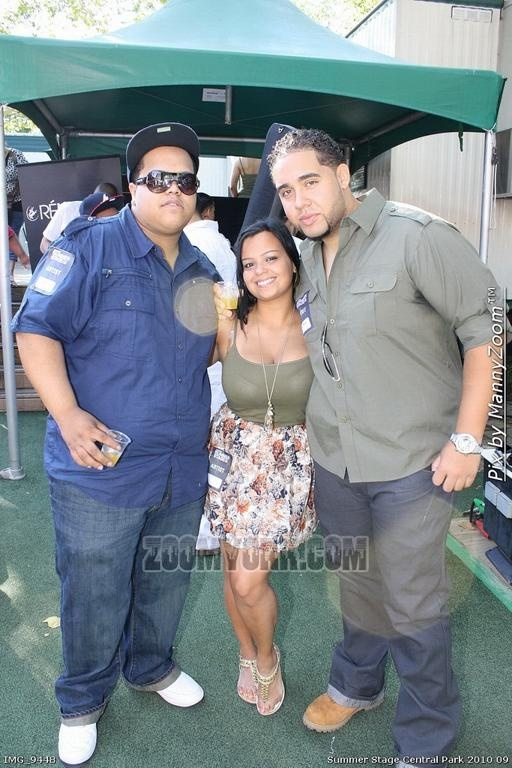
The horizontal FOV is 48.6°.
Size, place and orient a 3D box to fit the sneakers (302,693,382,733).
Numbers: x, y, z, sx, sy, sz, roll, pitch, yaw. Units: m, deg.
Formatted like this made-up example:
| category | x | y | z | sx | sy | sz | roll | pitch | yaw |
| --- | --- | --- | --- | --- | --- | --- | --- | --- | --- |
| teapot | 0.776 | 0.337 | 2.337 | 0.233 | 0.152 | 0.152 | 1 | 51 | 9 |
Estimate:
| category | x | y | z | sx | sy | sz | roll | pitch | yaw |
| --- | --- | --- | --- | --- | --- | --- | --- | --- | --- |
| sneakers | 0.299 | 1.123 | 1.986 | 0.251 | 0.111 | 0.096 | -10 | 47 | -8 |

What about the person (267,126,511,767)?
| category | x | y | z | sx | sy | sz | roll | pitch | yaw |
| --- | --- | --- | --- | --- | --- | --- | --- | --- | --- |
| person | 0.350 | 0.264 | 1.683 | 0.461 | 1.900 | 0.788 | -17 | 26 | -33 |

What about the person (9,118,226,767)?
| category | x | y | z | sx | sy | sz | roll | pitch | yaw |
| --- | --- | --- | --- | --- | --- | --- | --- | --- | --- |
| person | -0.403 | 0.244 | 1.748 | 0.361 | 1.922 | 0.814 | 10 | 25 | 27 |

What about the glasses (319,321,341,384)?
| category | x | y | z | sx | sy | sz | roll | pitch | yaw |
| --- | --- | --- | --- | --- | --- | --- | --- | --- | --- |
| glasses | 0.218 | -0.084 | 1.615 | 0.037 | 0.183 | 0.022 | -4 | -11 | 17 |

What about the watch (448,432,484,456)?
| category | x | y | z | sx | sy | sz | roll | pitch | yaw |
| --- | --- | --- | --- | --- | --- | --- | --- | --- | --- |
| watch | 0.514 | 0.146 | 1.382 | 0.070 | 0.044 | 0.067 | 34 | 1 | 20 |

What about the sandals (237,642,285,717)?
| category | x | y | z | sx | sy | sz | roll | pitch | yaw |
| --- | --- | --- | --- | --- | --- | --- | --- | --- | --- |
| sandals | 0.024 | 1.071 | 2.063 | 0.125 | 0.080 | 0.221 | 0 | 52 | 7 |

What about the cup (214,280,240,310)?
| category | x | y | z | sx | sy | sz | roll | pitch | yaw |
| --- | --- | --- | --- | --- | --- | --- | --- | --- | --- |
| cup | -0.093 | -0.302 | 1.930 | 0.093 | 0.103 | 0.095 | -1 | 7 | 0 |

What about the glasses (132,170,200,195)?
| category | x | y | z | sx | sy | sz | roll | pitch | yaw |
| --- | --- | --- | --- | --- | --- | --- | --- | --- | --- |
| glasses | -0.260 | -0.584 | 1.647 | 0.189 | 0.072 | 0.141 | -4 | 22 | -6 |

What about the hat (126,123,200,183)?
| category | x | y | z | sx | sy | sz | roll | pitch | yaw |
| --- | --- | --- | --- | --- | --- | --- | --- | --- | --- |
| hat | -0.270 | -0.719 | 1.709 | 0.199 | 0.101 | 0.261 | -9 | 8 | -15 |
